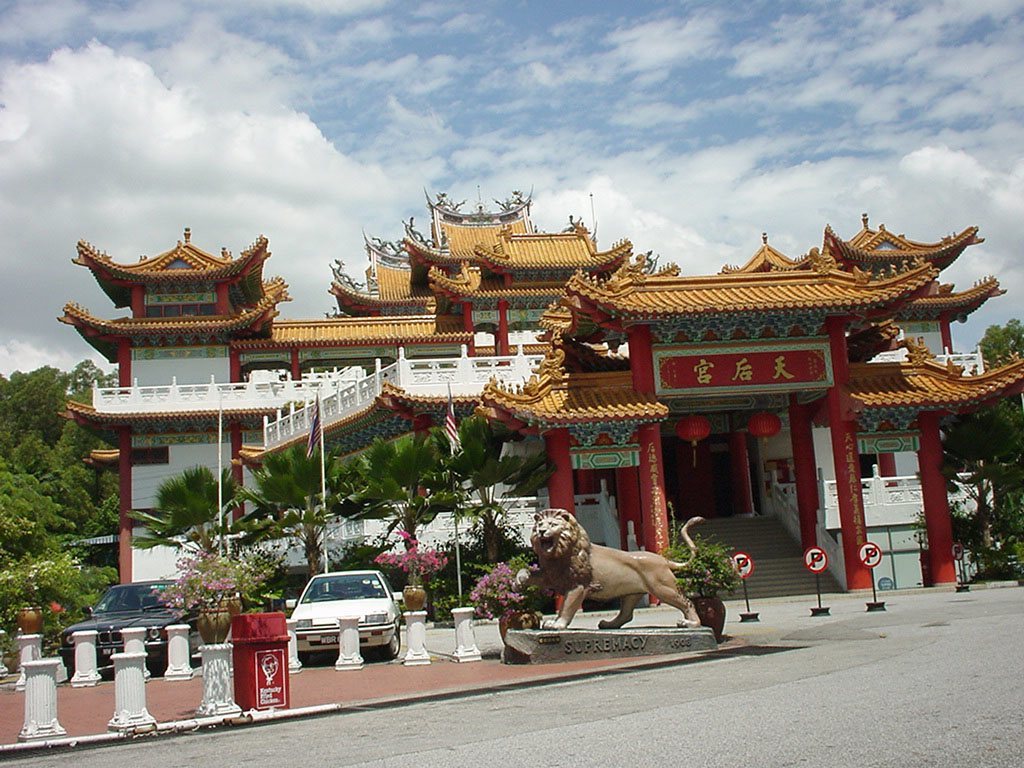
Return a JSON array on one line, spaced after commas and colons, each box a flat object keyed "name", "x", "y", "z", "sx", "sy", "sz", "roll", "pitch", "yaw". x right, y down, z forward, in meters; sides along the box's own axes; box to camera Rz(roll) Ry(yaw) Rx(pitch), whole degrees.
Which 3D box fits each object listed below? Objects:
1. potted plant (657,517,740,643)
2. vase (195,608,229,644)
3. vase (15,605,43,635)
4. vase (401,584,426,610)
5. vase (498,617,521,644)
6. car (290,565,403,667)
[{"name": "potted plant", "x": 3.747, "y": 3.952, "z": 23.503, "sx": 1.708, "sy": 2.354, "sz": 1.436, "roll": 0, "pitch": -13, "yaw": -29}, {"name": "vase", "x": -5.081, "y": 4.127, "z": 19.874, "sx": 0.530, "sy": 0.617, "sz": 0.442, "roll": 1, "pitch": -12, "yaw": -32}, {"name": "vase", "x": -10.765, "y": 5.320, "z": 25.924, "sx": 0.426, "sy": 0.533, "sz": 0.559, "roll": 1, "pitch": -11, "yaw": -30}, {"name": "vase", "x": -2.313, "y": 5.026, "z": 27.212, "sx": 0.613, "sy": 0.477, "sz": 0.597, "roll": -1, "pitch": -12, "yaw": 6}, {"name": "vase", "x": -0.100, "y": 4.929, "z": 23.158, "sx": 0.575, "sy": 0.585, "sz": 0.562, "roll": 3, "pitch": -13, "yaw": -11}, {"name": "car", "x": -3.462, "y": 4.815, "z": 23.850, "sx": 2.150, "sy": 1.864, "sz": 2.288, "roll": -3, "pitch": -10, "yaw": -9}]
